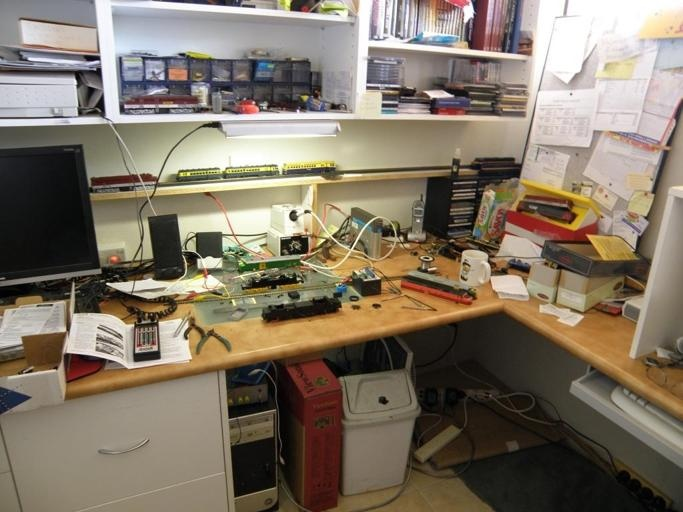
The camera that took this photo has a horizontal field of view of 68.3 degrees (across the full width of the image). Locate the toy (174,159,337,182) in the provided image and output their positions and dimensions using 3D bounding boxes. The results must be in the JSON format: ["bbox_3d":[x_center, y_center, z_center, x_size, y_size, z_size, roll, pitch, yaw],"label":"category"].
[{"bbox_3d":[-0.398,-0.427,2.545,0.823,0.080,0.085,-9,22,-21],"label":"toy"}]

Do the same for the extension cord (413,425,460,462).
[{"bbox_3d":[0.507,0.987,2.659,0.349,0.046,0.100,-20,27,-37],"label":"extension cord"}]

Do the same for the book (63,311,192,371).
[{"bbox_3d":[-0.772,0.297,1.876,0.400,0.156,0.248,-7,21,-17],"label":"book"}]

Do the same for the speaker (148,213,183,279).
[{"bbox_3d":[-0.791,-0.054,2.306,0.166,0.291,0.087,-8,24,-36],"label":"speaker"}]

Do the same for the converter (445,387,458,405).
[{"bbox_3d":[0.646,0.813,2.920,0.085,0.083,0.020,-1,6,-6],"label":"converter"}]

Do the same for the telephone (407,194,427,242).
[{"bbox_3d":[0.441,-0.216,2.900,0.127,0.256,0.113,-4,25,-11],"label":"telephone"}]

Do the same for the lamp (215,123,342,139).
[{"bbox_3d":[-0.266,-0.589,2.313,0.546,0.082,0.108,-7,21,-16],"label":"lamp"}]

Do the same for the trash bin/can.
[{"bbox_3d":[0.143,0.807,2.527,0.454,0.539,0.428,0,17,-12],"label":"trash bin/can"}]
